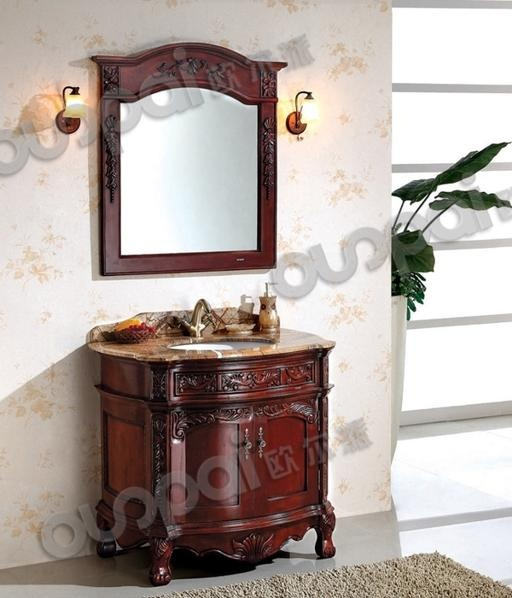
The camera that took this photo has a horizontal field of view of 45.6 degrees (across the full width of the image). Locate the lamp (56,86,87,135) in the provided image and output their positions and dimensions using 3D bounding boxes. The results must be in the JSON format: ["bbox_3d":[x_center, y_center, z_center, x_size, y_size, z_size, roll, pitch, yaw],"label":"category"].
[{"bbox_3d":[-0.724,-0.750,2.393,0.117,0.190,0.140,-3,7,-22],"label":"lamp"}]

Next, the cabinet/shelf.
[{"bbox_3d":[-0.169,0.564,2.505,0.896,1.109,0.568,-3,7,-25],"label":"cabinet/shelf"}]

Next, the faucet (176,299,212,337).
[{"bbox_3d":[-0.275,0.083,2.644,0.179,0.143,0.116,3,-8,-36],"label":"faucet"}]

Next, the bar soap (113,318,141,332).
[{"bbox_3d":[-0.520,0.095,2.470,0.071,0.032,0.072,-10,11,4],"label":"bar soap"}]

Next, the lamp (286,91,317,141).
[{"bbox_3d":[0.205,-0.862,2.821,0.141,0.223,0.162,1,6,4],"label":"lamp"}]
